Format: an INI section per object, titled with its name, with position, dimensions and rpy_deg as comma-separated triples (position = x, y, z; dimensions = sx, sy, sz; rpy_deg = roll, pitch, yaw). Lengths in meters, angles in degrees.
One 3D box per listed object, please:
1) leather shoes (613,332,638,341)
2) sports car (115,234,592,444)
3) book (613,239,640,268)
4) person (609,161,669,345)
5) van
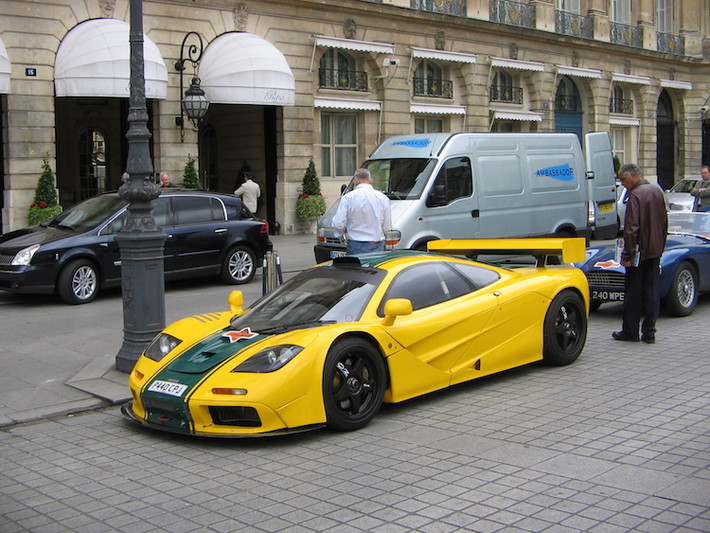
[leather shoes]
position = 3.817, 0.983, 9.377
dimensions = 0.320, 0.124, 0.117
rpy_deg = 10, 19, 39
[sports car]
position = 0.197, 0.571, 7.467
dimensions = 5.330, 1.548, 2.134
rpy_deg = -7, 9, -38
[book]
position = 4.088, -0.215, 10.209
dimensions = 0.395, 0.449, 0.160
rpy_deg = -2, 5, -23
[person]
position = 3.991, -0.199, 9.313
dimensions = 0.634, 2.488, 0.684
rpy_deg = 2, 9, 25
[van]
position = 3.206, -1.594, 15.985
dimensions = 7.532, 2.851, 3.278
rpy_deg = 0, 0, -33
